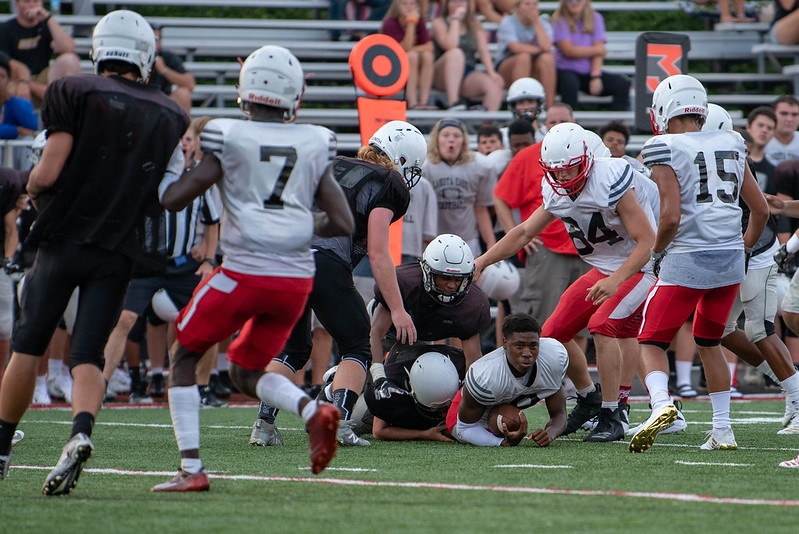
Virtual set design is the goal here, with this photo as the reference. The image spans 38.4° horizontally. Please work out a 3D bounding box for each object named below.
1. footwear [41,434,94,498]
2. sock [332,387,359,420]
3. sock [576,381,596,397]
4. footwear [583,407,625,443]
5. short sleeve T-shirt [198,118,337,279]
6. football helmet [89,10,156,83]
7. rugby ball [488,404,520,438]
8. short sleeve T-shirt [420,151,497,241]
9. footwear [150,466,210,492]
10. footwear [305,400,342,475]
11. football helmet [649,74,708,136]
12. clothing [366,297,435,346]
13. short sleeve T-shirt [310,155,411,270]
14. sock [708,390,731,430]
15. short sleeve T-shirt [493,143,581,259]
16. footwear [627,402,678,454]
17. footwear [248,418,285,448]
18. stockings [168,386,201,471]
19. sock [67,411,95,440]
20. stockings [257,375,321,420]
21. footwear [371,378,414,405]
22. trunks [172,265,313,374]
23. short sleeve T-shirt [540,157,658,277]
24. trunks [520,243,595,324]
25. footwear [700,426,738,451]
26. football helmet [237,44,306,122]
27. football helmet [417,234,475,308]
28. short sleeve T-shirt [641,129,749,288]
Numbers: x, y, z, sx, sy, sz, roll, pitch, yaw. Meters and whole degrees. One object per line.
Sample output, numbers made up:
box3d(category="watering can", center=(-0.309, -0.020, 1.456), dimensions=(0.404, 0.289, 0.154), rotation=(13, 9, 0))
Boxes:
box3d(category="footwear", center=(-1.818, 1.080, 6.318), dimensions=(0.208, 0.352, 0.229), rotation=(1, 3, -39))
box3d(category="sock", center=(-0.346, 0.881, 7.508), dimensions=(0.183, 0.204, 0.170), rotation=(4, 2, -26))
box3d(category="sock", center=(1.348, 0.864, 8.279), dimensions=(0.109, 0.094, 0.090), rotation=(-41, -8, 13))
box3d(category="footwear", center=(1.461, 1.093, 8.098), dimensions=(0.237, 0.231, 0.384), rotation=(4, 2, 27))
box3d(category="short sleeve T-shirt", center=(-0.735, -0.353, 6.563), dimensions=(0.831, 0.939, 0.490), rotation=(1, -2, -23))
box3d(category="football helmet", center=(-1.624, -1.317, 6.857), dimensions=(0.370, 0.472, 0.524), rotation=(6, 11, -2))
box3d(category="rugby ball", center=(0.721, 1.016, 7.778), dimensions=(0.194, 0.201, 0.197), rotation=(9, 1, 0))
box3d(category="short sleeve T-shirt", center=(0.512, -0.640, 10.346), dimensions=(0.748, 1.023, 0.371), rotation=(-2, 7, -9))
box3d(category="footwear", center=(-1.239, 1.183, 6.462), dimensions=(0.337, 0.166, 0.128), rotation=(1, -8, -1))
box3d(category="footwear", center=(-0.421, 0.959, 6.402), dimensions=(0.179, 0.425, 0.260), rotation=(2, 2, -3))
box3d(category="football helmet", center=(1.857, -1.100, 7.639), dimensions=(0.334, 0.446, 0.411), rotation=(-11, 15, -27))
box3d(category="clothing", center=(0.027, 0.366, 7.913), dimensions=(0.368, 0.386, 0.283), rotation=(11, 5, 34))
box3d(category="short sleeve T-shirt", center=(-0.259, -0.367, 7.335), dimensions=(0.578, 0.582, 0.358), rotation=(30, -2, 31))
box3d(category="sock", center=(2.130, 0.938, 7.641), dimensions=(0.124, 0.255, 0.138), rotation=(3, 2, 15))
box3d(category="short sleeve T-shirt", center=(1.090, -0.497, 8.941), dimensions=(0.367, 0.817, 0.812), rotation=(-30, 16, -6))
box3d(category="footwear", center=(1.734, 1.101, 7.833), dimensions=(0.107, 0.300, 0.137), rotation=(40, 3, -10))
box3d(category="footwear", center=(-0.907, 1.145, 7.928), dimensions=(0.111, 0.151, 0.303), rotation=(3, -1, 15))
box3d(category="stockings", center=(-1.204, 0.891, 6.506), dimensions=(0.197, 0.471, 0.264), rotation=(2, 2, -11))
box3d(category="sock", center=(-1.781, 0.911, 6.467), dimensions=(0.124, 0.204, 0.135), rotation=(0, -32, 1))
box3d(category="stockings", center=(-0.610, 0.715, 6.520), dimensions=(0.326, 0.216, 0.135), rotation=(37, 29, 16))
box3d(category="footwear", center=(-0.042, 0.852, 7.975), dimensions=(0.202, 0.085, 0.134), rotation=(5, 13, -13))
box3d(category="trunks", center=(-0.874, 0.292, 6.487), dimensions=(0.744, 0.582, 0.277), rotation=(2, 2, -8))
box3d(category="short sleeve T-shirt", center=(1.428, -0.338, 8.117), dimensions=(0.788, 0.843, 0.484), rotation=(-7, 16, 46))
box3d(category="trunks", center=(1.269, 0.119, 9.076), dimensions=(0.430, 0.590, 0.317), rotation=(20, 8, -45))
box3d(category="footwear", center=(2.126, 1.138, 7.598), dimensions=(0.311, 0.157, 0.112), rotation=(-4, -2, 29))
box3d(category="football helmet", center=(-0.719, -1.066, 6.655), dimensions=(0.369, 0.464, 0.523), rotation=(9, 8, -4))
box3d(category="football helmet", center=(0.290, -0.022, 7.987), dimensions=(0.354, 0.442, 0.392), rotation=(1, -41, -13))
box3d(category="short sleeve T-shirt", center=(1.998, -0.383, 7.625), dimensions=(0.797, 1.061, 0.527), rotation=(-3, -2, -16))
